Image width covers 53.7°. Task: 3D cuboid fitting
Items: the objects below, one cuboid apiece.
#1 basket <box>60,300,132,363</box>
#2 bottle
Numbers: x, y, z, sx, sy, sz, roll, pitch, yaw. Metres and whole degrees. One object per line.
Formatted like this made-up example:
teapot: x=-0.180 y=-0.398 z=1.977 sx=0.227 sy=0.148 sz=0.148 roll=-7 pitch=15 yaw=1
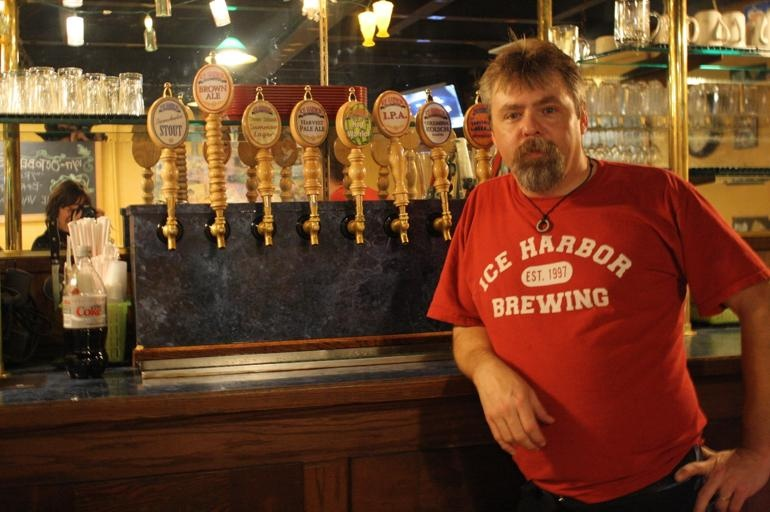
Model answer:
basket: x=-0.955 y=0.255 z=2.493 sx=0.162 sy=0.224 sz=0.162 roll=2 pitch=-4 yaw=-36
bottle: x=-0.902 y=0.171 z=2.359 sx=0.104 sy=0.297 sz=0.158 roll=-1 pitch=2 yaw=31
